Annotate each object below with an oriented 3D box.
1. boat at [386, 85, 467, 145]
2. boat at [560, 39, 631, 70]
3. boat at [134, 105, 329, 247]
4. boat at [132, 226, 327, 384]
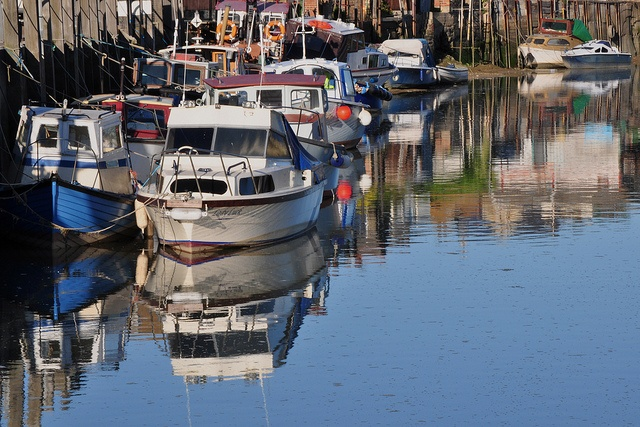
[{"bbox_3d":[3.771,-3.778,47.553,2.670,0.150,18.225,1,10,9],"label":"boat"},{"bbox_3d":[14.829,-8.571,69.036,3.640,1.531,1.658,-9,14,-40],"label":"boat"},{"bbox_3d":[-1.955,-0.831,27.957,3.807,2.954,2.280,-7,13,-31],"label":"boat"},{"bbox_3d":[-1.812,1.888,25.147,3.610,1.291,5.017,-1,10,-1],"label":"boat"}]
